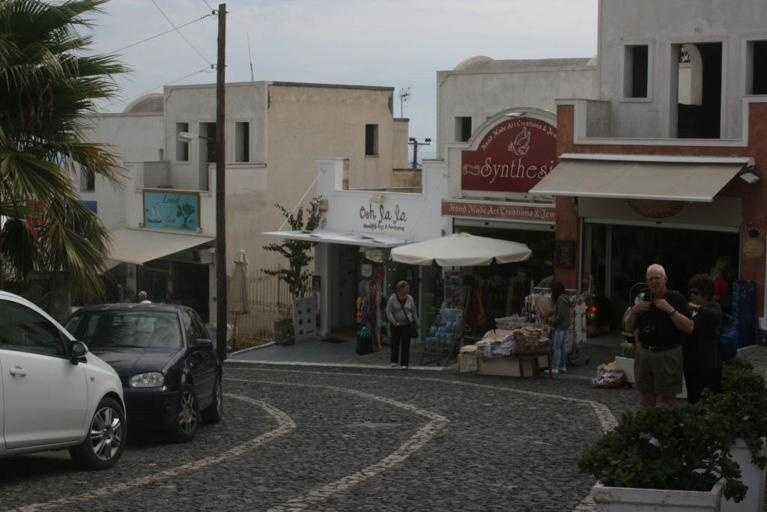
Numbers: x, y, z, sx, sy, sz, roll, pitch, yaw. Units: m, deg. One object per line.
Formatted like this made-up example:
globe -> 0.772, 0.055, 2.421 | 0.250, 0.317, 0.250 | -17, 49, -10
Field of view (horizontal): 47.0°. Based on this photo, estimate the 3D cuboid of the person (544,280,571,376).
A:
person -> 4.069, 1.622, 20.348 | 0.647, 1.567, 0.493 | -2, 1, -14

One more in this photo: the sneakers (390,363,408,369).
sneakers -> 0.440, 2.795, 22.404 | 0.165, 0.214, 0.485 | 2, -5, -38
